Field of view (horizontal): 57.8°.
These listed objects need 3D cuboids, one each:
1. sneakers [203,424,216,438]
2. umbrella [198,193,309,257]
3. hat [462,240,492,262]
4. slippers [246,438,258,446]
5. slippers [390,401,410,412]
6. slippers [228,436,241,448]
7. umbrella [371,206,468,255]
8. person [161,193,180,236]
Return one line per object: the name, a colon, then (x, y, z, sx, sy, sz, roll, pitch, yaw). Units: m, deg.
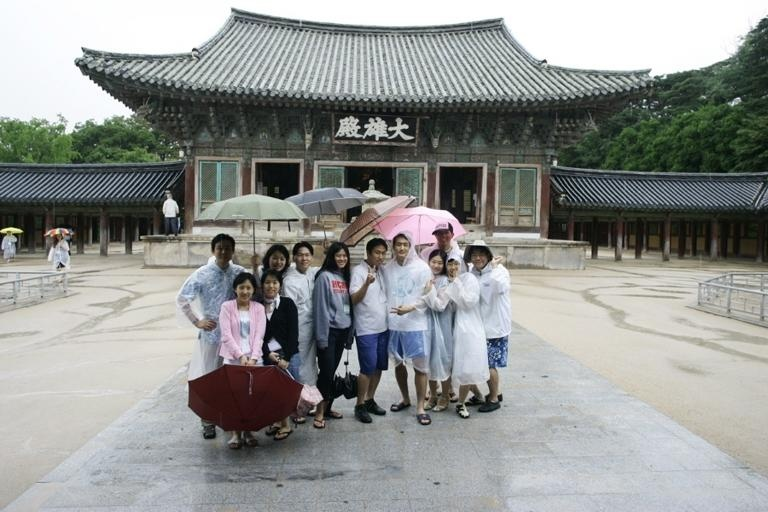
sneakers: (-2.797, 2.828, 11.201, 0.160, 0.228, 0.086, 4, -11, -4)
umbrella: (-2.079, -0.619, 12.049, 1.129, 0.759, 1.196, -2, 5, 26)
hat: (1.727, -0.072, 12.917, 0.480, 0.246, 0.647, -1, -1, 9)
slippers: (-2.096, 2.948, 11.016, 0.189, 0.125, 0.059, -3, 3, -6)
slippers: (0.275, 2.561, 11.762, 0.314, 0.087, 0.123, 2, -4, -27)
slippers: (-2.376, 2.933, 10.997, 0.233, 0.204, 0.119, -1, 3, 17)
umbrella: (0.638, -0.647, 12.093, 1.214, 0.530, 1.121, 8, -11, -39)
person: (-7.176, -1.426, 23.515, 0.465, 1.488, 1.950, -3, 4, -17)
